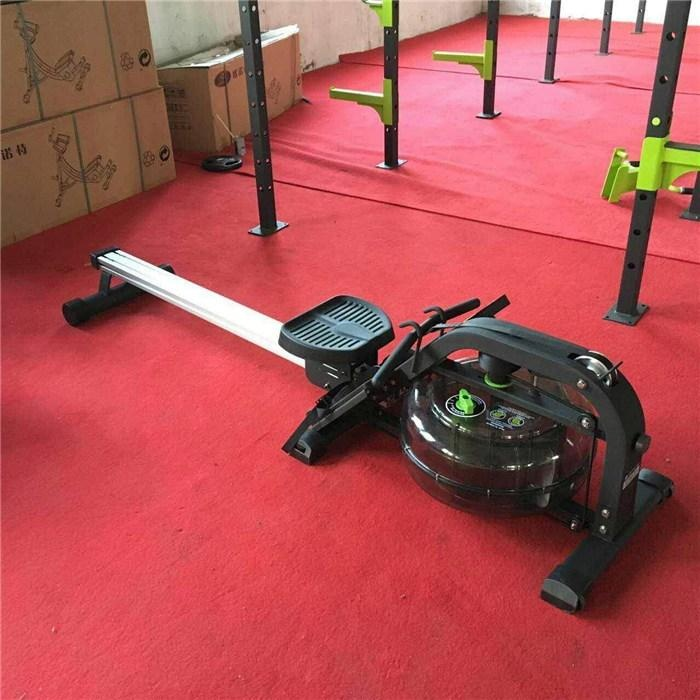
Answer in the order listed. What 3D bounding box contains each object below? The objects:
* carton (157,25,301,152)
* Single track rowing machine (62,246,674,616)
[{"bbox_3d":[-0.752,-1.832,4.133,0.369,0.459,1.067,19,44,20],"label":"carton"},{"bbox_3d":[-0.086,-0.015,1.604,1.577,0.404,0.538,21,35,34],"label":"Single track rowing machine"}]
